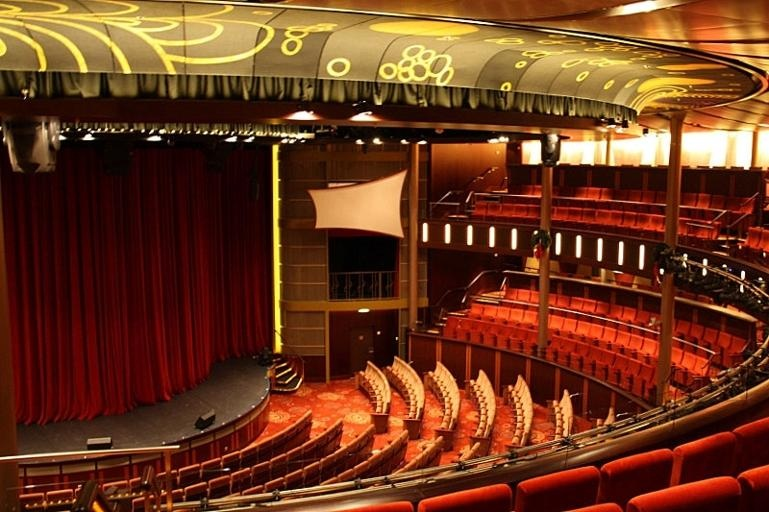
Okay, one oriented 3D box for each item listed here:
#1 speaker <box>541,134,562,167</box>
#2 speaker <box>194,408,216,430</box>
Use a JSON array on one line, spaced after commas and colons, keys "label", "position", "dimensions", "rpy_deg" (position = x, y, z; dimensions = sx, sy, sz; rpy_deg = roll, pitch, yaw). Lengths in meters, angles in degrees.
[{"label": "speaker", "position": [3.346, -2.108, 12.440], "dimensions": [0.340, 0.597, 0.499], "rpy_deg": [-2, 5, 9]}, {"label": "speaker", "position": [-3.744, 3.323, 12.941], "dimensions": [0.292, 0.326, 0.534], "rpy_deg": [11, 17, 40]}]
